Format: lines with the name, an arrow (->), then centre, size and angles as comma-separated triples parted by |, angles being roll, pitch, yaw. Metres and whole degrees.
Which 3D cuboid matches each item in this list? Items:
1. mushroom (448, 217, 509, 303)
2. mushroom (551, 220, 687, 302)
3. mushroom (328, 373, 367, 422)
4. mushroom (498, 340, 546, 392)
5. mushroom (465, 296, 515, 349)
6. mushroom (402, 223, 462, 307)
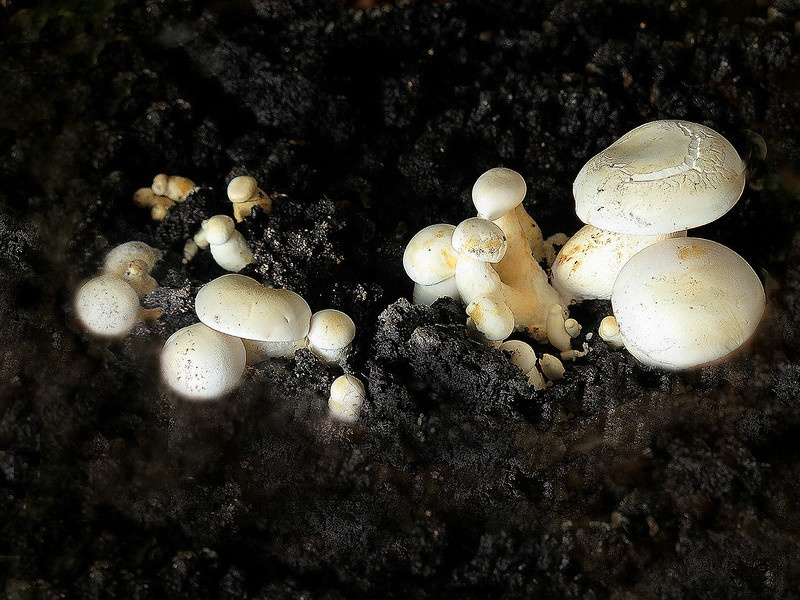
mushroom -> 0.468, -0.235, 5.581 | 0.255, 0.446, 0.242 | -31, 52, -16
mushroom -> 1.295, -0.283, 5.829 | 0.622, 0.244, 0.505 | -30, 54, 2
mushroom -> -0.300, 0.575, 5.387 | 0.207, 0.154, 0.266 | 22, 84, 10
mushroom -> 0.755, 0.392, 5.548 | 0.304, 0.062, 0.232 | 55, 53, -16
mushroom -> 0.541, 0.079, 5.493 | 0.293, 0.088, 0.337 | -2, 49, 2
mushroom -> 0.213, -0.204, 5.739 | 0.297, 0.324, 0.316 | -23, 53, -7
